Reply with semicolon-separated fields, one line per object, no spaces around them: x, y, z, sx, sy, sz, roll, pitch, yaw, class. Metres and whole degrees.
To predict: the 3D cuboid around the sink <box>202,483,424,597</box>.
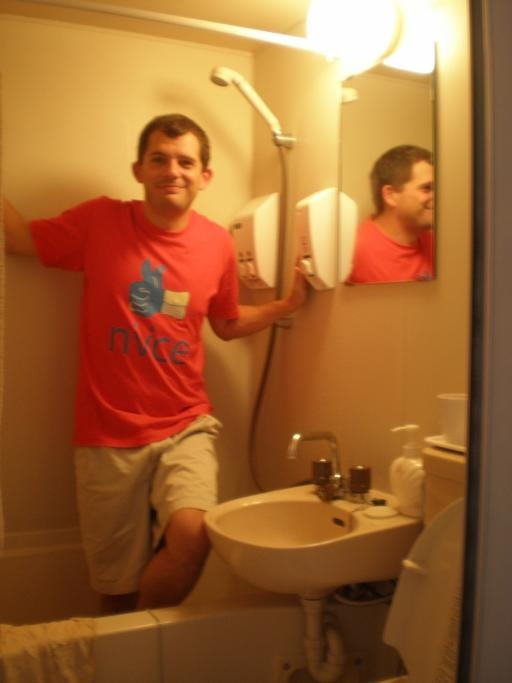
0.108;0.395;1.181;0.392;0.142;0.321;-2;5;-44;sink

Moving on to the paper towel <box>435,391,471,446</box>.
0.322;0.124;1.013;0.058;0.082;0.084;0;-15;0;paper towel
